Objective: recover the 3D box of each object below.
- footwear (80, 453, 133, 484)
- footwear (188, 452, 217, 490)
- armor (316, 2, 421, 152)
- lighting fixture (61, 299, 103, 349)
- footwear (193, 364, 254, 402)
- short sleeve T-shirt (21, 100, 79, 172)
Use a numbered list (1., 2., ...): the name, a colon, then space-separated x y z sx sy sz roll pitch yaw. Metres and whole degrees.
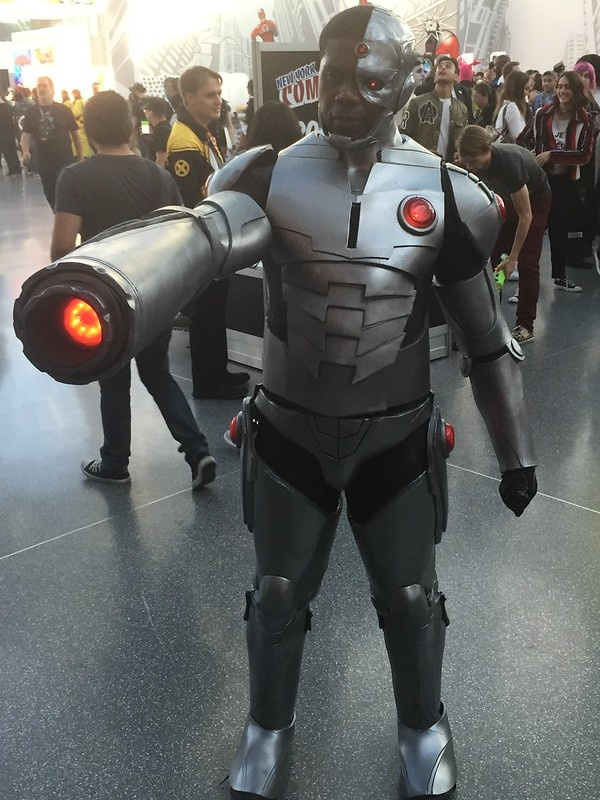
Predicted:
1. footwear: -0.880 0.329 2.596 0.232 0.116 0.095 18 4 8
2. footwear: -0.426 0.313 2.465 0.073 0.206 0.094 -7 45 -26
3. armor: 0.103 -0.493 0.859 0.156 0.199 0.170 3 24 6
4. lighting fixture: -0.164 -0.058 0.423 0.034 0.036 0.008 2 22 41
5. footwear: -0.452 -0.099 3.422 0.355 0.263 0.155 -12 31 -11
6. short sleeve T-shirt: -3.392 -3.591 7.675 0.726 0.903 0.470 -5 19 -13
